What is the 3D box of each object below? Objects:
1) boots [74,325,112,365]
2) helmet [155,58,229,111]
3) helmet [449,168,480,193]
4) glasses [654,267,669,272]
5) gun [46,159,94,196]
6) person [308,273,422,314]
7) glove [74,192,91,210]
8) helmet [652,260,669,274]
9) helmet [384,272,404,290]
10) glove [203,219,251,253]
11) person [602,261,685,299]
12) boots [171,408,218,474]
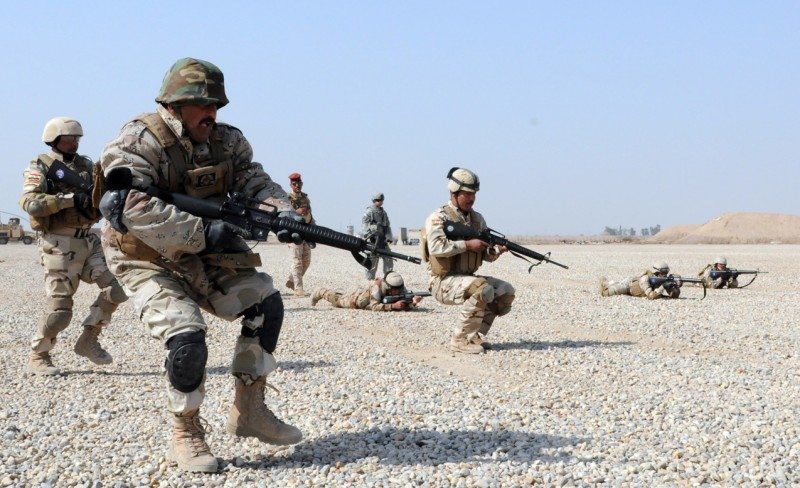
[{"bbox_3d":[-3.875,1.273,9.192,0.489,0.451,0.242,19,6,0],"label":"boots"},{"bbox_3d":[-1.954,-1.499,6.656,0.637,0.450,0.331,-2,10,-8],"label":"helmet"},{"bbox_3d":[0.895,-0.897,10.031,0.383,0.369,0.356,-1,10,-2],"label":"helmet"},{"bbox_3d":[5.469,0.519,14.984,0.179,0.062,0.144,-4,3,-1],"label":"glasses"},{"bbox_3d":[-4.085,-0.845,8.889,0.493,0.398,0.377,-5,11,-24],"label":"gun"},{"bbox_3d":[-0.592,0.908,13.559,2.096,0.795,0.807,1,16,11],"label":"person"},{"bbox_3d":[-3.926,-0.533,8.856,0.185,0.232,0.090,-4,11,-19],"label":"glove"},{"bbox_3d":[5.471,0.484,15.081,0.301,0.233,0.274,-4,3,12],"label":"helmet"},{"bbox_3d":[-0.144,0.668,13.305,0.313,0.261,0.329,24,-1,-36],"label":"helmet"},{"bbox_3d":[-1.638,-0.079,6.802,0.460,0.342,0.358,-5,11,-26],"label":"glove"},{"bbox_3d":[5.052,0.763,15.259,0.810,0.629,1.528,-6,4,-41],"label":"person"},{"bbox_3d":[-1.954,1.854,6.786,0.287,0.515,0.785,1,2,-38],"label":"boots"}]
